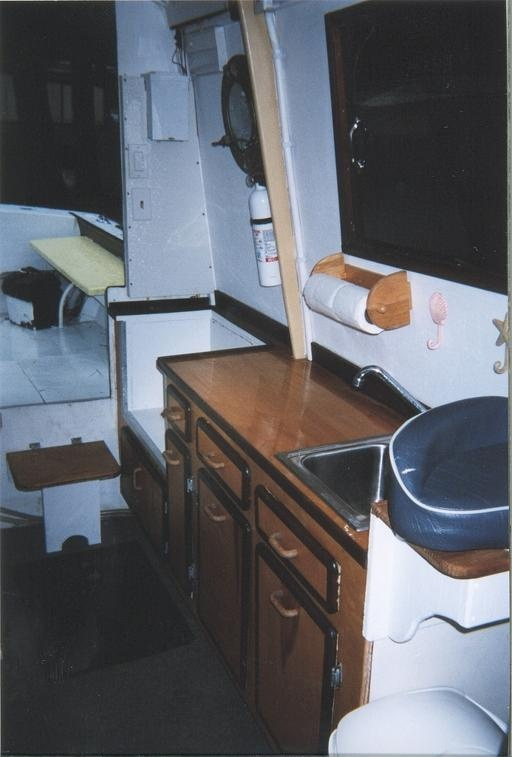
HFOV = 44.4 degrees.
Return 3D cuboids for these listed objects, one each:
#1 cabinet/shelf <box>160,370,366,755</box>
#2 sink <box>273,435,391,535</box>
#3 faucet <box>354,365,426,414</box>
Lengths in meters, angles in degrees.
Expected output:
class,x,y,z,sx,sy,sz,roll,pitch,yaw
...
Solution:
class,x,y,z,sx,sy,sz,roll,pitch,yaw
cabinet/shelf,0.021,0.504,1.720,0.300,0.559,0.885,-6,33,-19
sink,0.239,0.278,1.571,0.227,0.151,0.238,-6,32,-18
faucet,0.392,0.034,1.798,0.210,0.092,0.042,27,4,-22
